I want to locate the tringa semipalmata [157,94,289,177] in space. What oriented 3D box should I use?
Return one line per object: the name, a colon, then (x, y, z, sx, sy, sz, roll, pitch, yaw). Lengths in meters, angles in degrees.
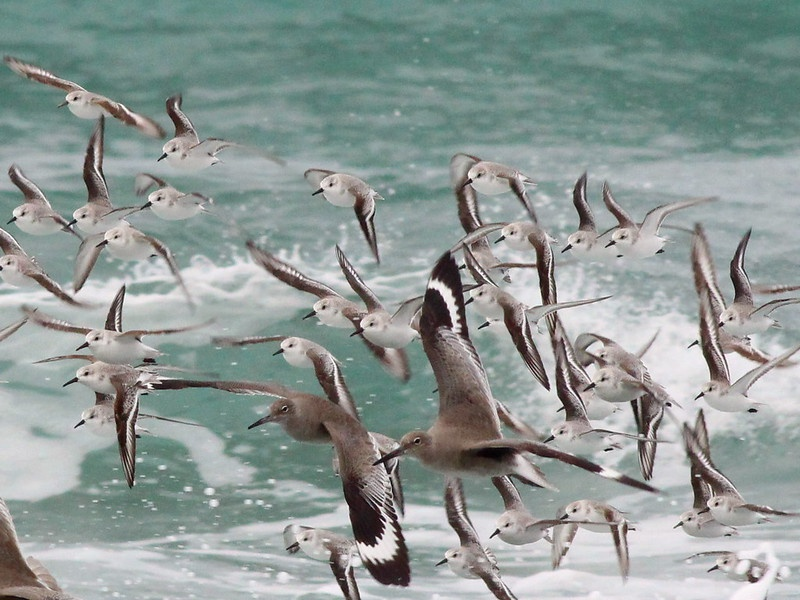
tringa semipalmata: (-2.833, -2.387, 14.769, 1.095, 1.131, 1.168, -5, 7, -4)
